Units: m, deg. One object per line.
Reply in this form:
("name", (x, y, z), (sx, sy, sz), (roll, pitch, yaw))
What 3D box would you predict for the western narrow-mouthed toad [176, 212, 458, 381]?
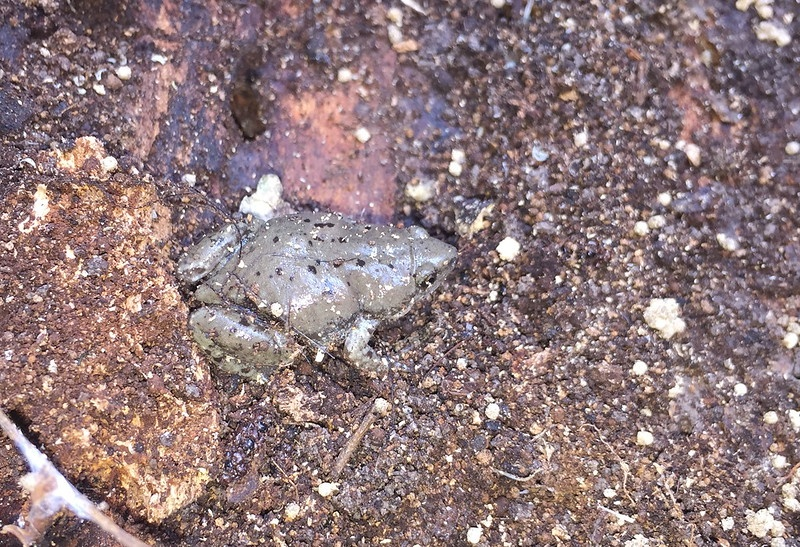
("western narrow-mouthed toad", (-0.634, 0.139, 6.338), (1.584, 0.567, 1.189), (-4, 81, -11))
